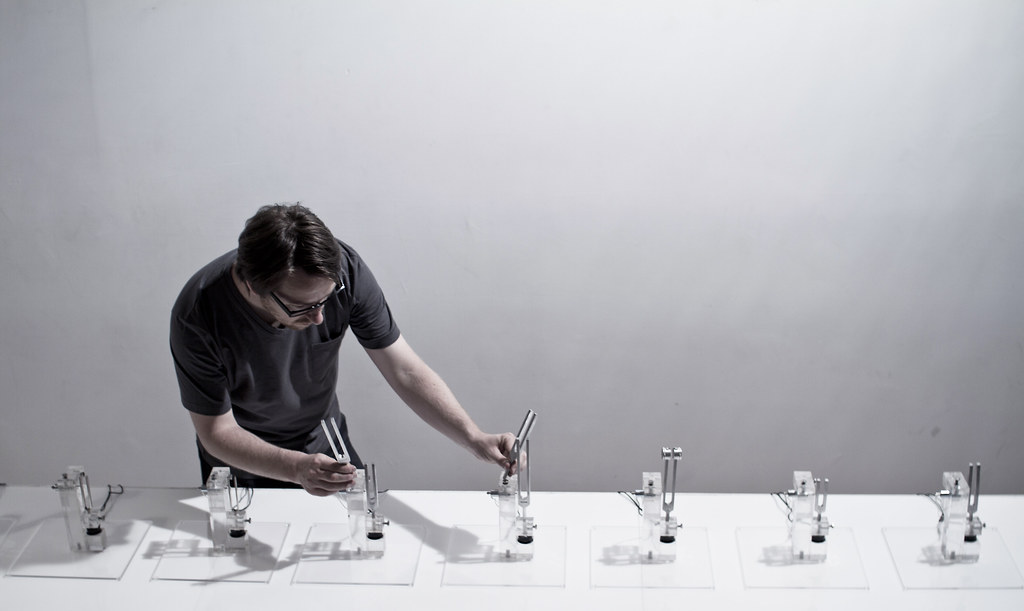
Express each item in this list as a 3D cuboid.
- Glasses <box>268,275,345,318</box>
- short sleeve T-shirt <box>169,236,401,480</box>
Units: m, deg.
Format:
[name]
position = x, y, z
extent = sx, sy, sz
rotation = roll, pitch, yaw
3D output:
[Glasses]
position = -0.753, -0.036, 2.852
extent = 0.234, 0.142, 0.279
rotation = 3, 4, -9
[short sleeve T-shirt]
position = -0.939, 0.281, 3.174
extent = 0.912, 1.143, 0.581
rotation = -15, 50, -30
